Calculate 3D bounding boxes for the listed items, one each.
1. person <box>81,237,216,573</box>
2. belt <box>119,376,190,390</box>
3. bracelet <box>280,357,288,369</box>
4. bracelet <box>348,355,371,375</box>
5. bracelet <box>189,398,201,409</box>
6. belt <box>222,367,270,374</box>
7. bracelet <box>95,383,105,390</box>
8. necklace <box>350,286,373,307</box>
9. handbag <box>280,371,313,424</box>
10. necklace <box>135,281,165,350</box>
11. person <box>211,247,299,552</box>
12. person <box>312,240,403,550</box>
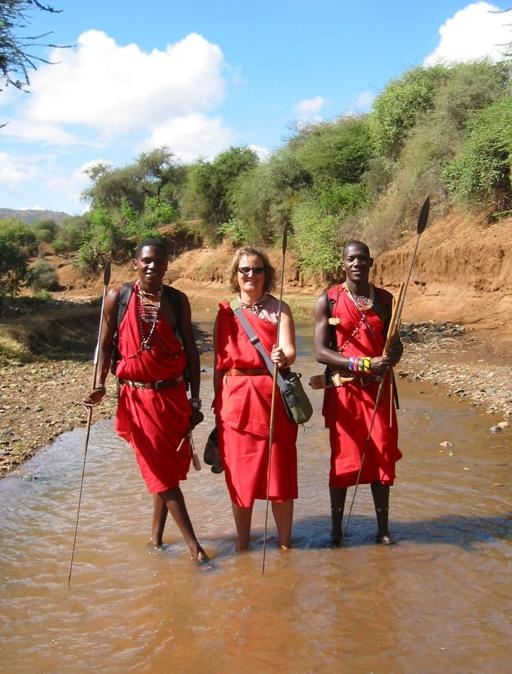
[{"bbox_3d":[-0.657,0.391,3.721,0.636,1.957,0.430,-4,5,-5],"label":"person"},{"bbox_3d":[-0.617,0.270,3.743,0.433,0.067,0.294,-3,3,-14],"label":"belt"},{"bbox_3d":[0.158,0.156,3.613,0.034,0.057,0.048,-2,-6,39],"label":"bracelet"},{"bbox_3d":[0.636,0.167,3.720,0.057,0.092,0.113,-23,4,-29],"label":"bracelet"},{"bbox_3d":[-0.395,0.419,3.900,0.065,0.052,0.074,0,-11,-4],"label":"bracelet"},{"bbox_3d":[-0.079,0.210,3.730,0.314,0.048,0.059,-1,4,27],"label":"belt"},{"bbox_3d":[-0.935,0.296,3.642,0.032,0.035,0.041,1,-14,-4],"label":"bracelet"},{"bbox_3d":[0.682,-0.255,3.886,0.111,0.095,0.047,-2,-26,-18],"label":"necklace"},{"bbox_3d":[0.235,0.377,3.759,0.194,0.359,0.234,-3,4,4],"label":"handbag"},{"bbox_3d":[-0.627,-0.117,3.621,0.138,0.384,0.148,-4,5,-7],"label":"necklace"},{"bbox_3d":[-0.005,0.396,3.820,0.564,1.951,0.470,-1,5,29],"label":"person"},{"bbox_3d":[0.636,0.357,3.924,0.581,1.971,0.523,-2,5,10],"label":"person"}]
